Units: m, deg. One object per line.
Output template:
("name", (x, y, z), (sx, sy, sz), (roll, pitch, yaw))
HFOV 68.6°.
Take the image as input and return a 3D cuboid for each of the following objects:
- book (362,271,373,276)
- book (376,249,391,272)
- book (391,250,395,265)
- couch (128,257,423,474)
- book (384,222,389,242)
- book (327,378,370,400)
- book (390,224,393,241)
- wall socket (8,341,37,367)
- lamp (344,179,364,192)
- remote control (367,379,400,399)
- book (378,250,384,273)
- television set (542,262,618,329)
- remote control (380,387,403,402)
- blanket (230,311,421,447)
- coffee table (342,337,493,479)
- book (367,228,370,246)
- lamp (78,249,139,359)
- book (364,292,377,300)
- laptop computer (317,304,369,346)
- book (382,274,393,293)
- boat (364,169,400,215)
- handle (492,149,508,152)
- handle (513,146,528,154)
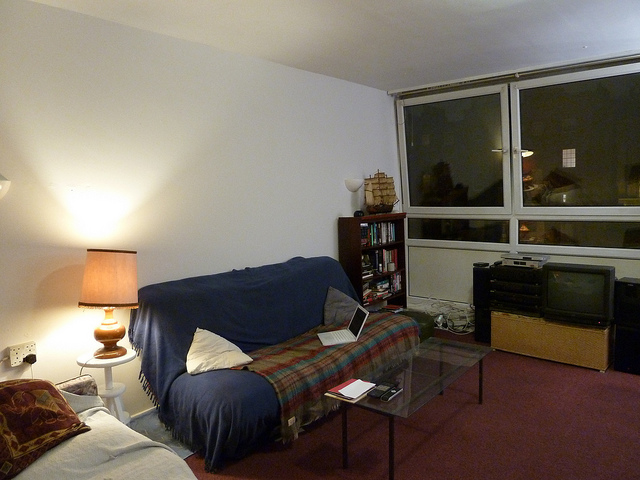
("book", (0.552, 0.391, 5.449), (0.015, 0.046, 0.217), (6, 15, 36))
("book", (0.792, 0.224, 5.808), (0.211, 0.311, 0.298), (0, 1, 25))
("book", (0.924, 0.211, 5.936), (0.053, 0.166, 0.169), (0, 3, 21))
("couch", (-0.379, 0.875, 3.979), (2.074, 1.116, 1.235), (-11, 15, -37))
("book", (0.837, -0.102, 5.798), (0.031, 0.234, 0.069), (0, 11, 8))
("book", (0.205, 1.079, 3.389), (0.199, 0.023, 0.205), (-9, 13, -41))
("book", (0.890, -0.095, 5.853), (0.026, 0.191, 0.084), (2, 12, 20))
("wall socket", (-2.113, 0.801, 3.317), (0.096, 0.193, 0.184), (2, 3, 33))
("lamp", (0.402, -0.644, 5.458), (0.152, 0.113, 0.156), (3, 8, 42))
("remote control", (0.458, 1.070, 3.391), (0.083, 0.031, 0.292), (6, 10, 29))
("book", (0.757, 0.262, 5.775), (0.060, 0.266, 0.135), (0, 11, 8))
("television set", (2.519, 0.481, 4.634), (0.584, 0.583, 0.340), (3, 16, 31))
("remote control", (0.515, 1.074, 3.337), (0.054, 0.035, 0.198), (9, 13, 33))
("blanket", (0.014, 1.139, 4.167), (1.975, 0.517, 1.033), (-14, 3, -42))
("coffee table", (0.839, 1.220, 3.707), (0.608, 0.487, 1.521), (7, 15, 35))
("book", (0.563, -0.039, 5.487), (0.025, 0.242, 0.175), (1, 5, 16))
("lamp", (-1.535, 0.452, 3.448), (0.417, 0.777, 0.253), (-7, 12, -27))
("book", (0.605, 0.642, 5.546), (0.051, 0.063, 0.258), (3, 12, 37))
("laptop computer", (0.240, 0.768, 4.237), (0.313, 0.222, 0.301), (-1, 10, -8))
("book", (0.827, 0.530, 5.793), (0.072, 0.227, 0.227), (-2, -1, 39))
("boat", (0.709, -0.558, 5.658), (0.465, 0.483, 0.192), (-1, 6, 17))
("handle", (2.144, -1.068, 5.577), (0.059, 0.030, 0.170), (-8, 13, -26))
("handle", (2.339, -1.051, 5.446), (0.066, 0.070, 0.119), (-8, 11, -44))
